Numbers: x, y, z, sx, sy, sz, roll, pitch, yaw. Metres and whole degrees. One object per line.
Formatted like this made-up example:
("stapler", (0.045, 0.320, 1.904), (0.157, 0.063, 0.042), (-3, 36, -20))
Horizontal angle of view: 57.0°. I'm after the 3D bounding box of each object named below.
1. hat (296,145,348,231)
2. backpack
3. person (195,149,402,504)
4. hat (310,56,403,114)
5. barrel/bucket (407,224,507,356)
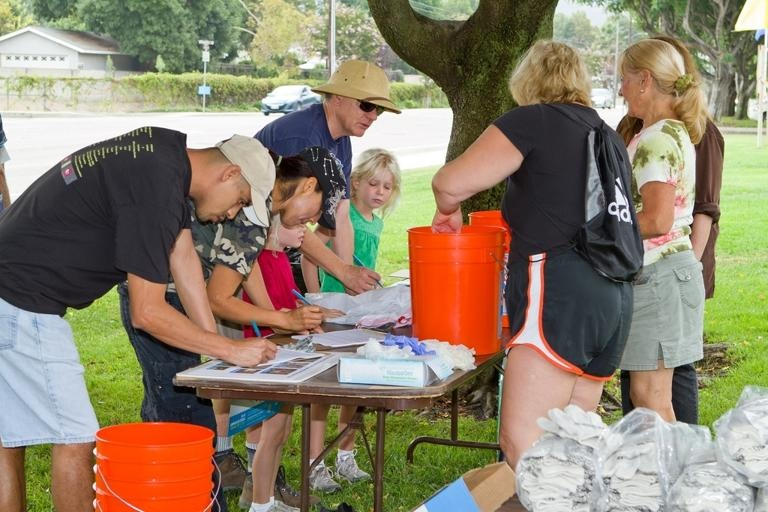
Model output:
("hat", (-0.286, -0.354, 3.686), (0.229, 0.414, 0.269), (-25, 5, 1))
("backpack", (0.949, -0.266, 3.091), (0.384, 0.786, 0.336), (-4, 10, -10))
("person", (-0.468, 0.392, 3.733), (0.983, 2.452, 0.931), (-3, 44, -20))
("hat", (-0.118, -1.023, 4.689), (0.410, 0.209, 0.445), (24, 4, 32))
("barrel/bucket", (0.334, 0.138, 3.474), (0.601, 0.590, 0.534), (-3, 6, -27))
